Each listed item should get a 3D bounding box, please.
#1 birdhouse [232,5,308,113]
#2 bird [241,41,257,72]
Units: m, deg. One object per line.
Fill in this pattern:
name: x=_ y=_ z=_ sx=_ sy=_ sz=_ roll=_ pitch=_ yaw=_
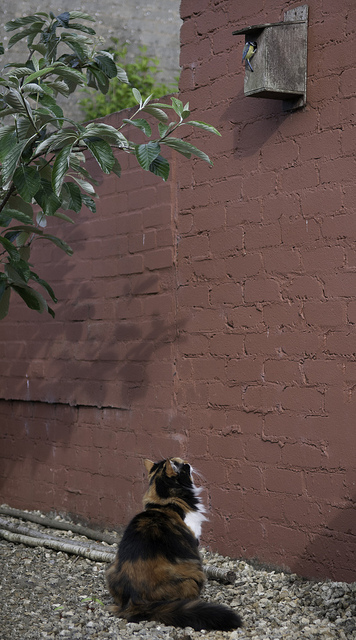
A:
birdhouse: x=0.488 y=-1.377 z=3.099 sx=0.378 sy=0.541 sz=0.182 roll=-4 pitch=-1 yaw=-31
bird: x=0.363 y=-1.339 z=3.055 sx=0.041 sy=0.153 sz=0.102 roll=-5 pitch=-1 yaw=-23
